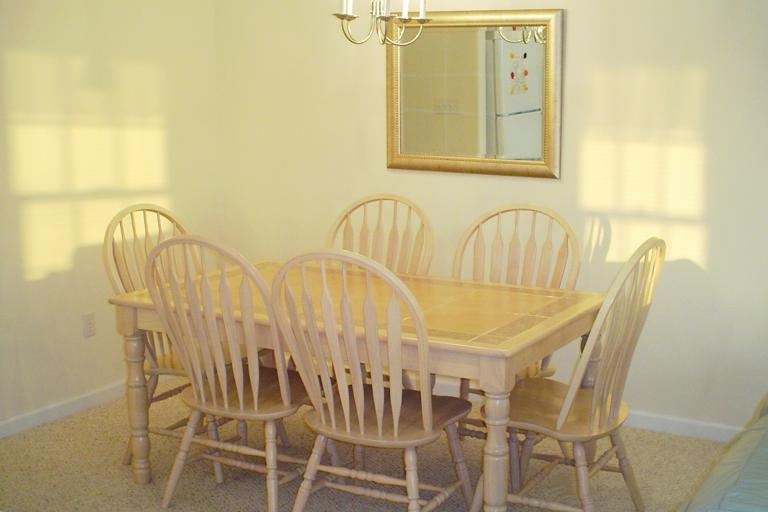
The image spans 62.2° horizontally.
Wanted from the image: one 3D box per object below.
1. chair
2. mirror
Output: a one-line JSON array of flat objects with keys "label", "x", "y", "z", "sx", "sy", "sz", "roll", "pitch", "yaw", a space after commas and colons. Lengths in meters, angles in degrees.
[{"label": "chair", "x": -0.027, "y": 0.362, "z": 3.053, "sx": 2.308, "sy": 1.192, "sz": 1.154, "roll": 2, "pitch": 8, "yaw": 30}, {"label": "mirror", "x": 0.572, "y": -0.984, "z": 3.742, "sx": 1.015, "sy": 0.893, "sz": 0.071, "roll": 3, "pitch": 9, "yaw": 22}]
